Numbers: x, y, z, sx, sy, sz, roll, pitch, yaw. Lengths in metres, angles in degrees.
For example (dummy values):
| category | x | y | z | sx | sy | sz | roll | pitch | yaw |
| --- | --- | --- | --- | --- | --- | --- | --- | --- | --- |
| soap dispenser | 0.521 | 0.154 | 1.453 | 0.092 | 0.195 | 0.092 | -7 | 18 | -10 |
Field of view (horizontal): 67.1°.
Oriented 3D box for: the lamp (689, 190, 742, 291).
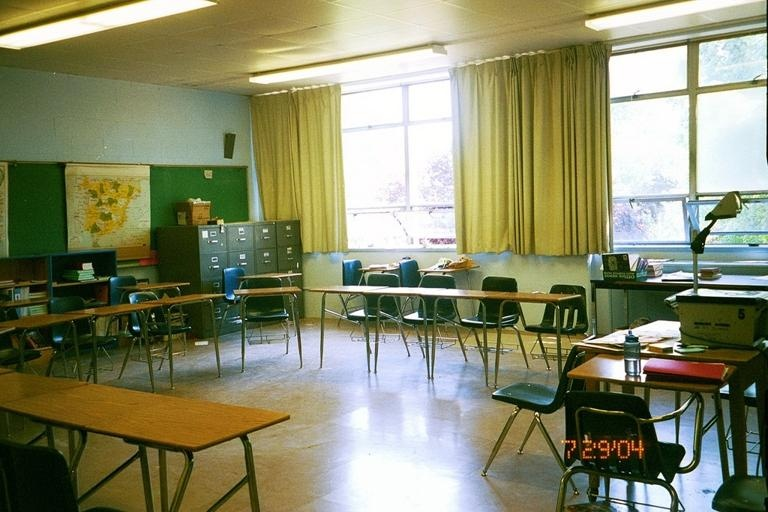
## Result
| category | x | y | z | sx | sy | sz | roll | pitch | yaw |
| --- | --- | --- | --- | --- | --- | --- | --- | --- | --- |
| lamp | 3.264 | -0.130 | 5.685 | 0.437 | 0.952 | 2.638 | -1 | 3 | 28 |

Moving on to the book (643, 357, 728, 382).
| category | x | y | z | sx | sy | sz | roll | pitch | yaw |
| --- | --- | --- | --- | --- | --- | --- | --- | --- | --- |
| book | 2.118 | 0.809 | 4.099 | 0.482 | 0.089 | 0.238 | 0 | 3 | 34 |

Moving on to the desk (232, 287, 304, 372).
| category | x | y | z | sx | sy | sz | roll | pitch | yaw |
| --- | --- | --- | --- | --- | --- | --- | --- | --- | --- |
| desk | -1.684 | 0.940 | 8.230 | 1.029 | 1.034 | 1.024 | -1 | 7 | -8 |

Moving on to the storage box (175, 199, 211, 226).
| category | x | y | z | sx | sy | sz | roll | pitch | yaw |
| --- | --- | --- | --- | --- | --- | --- | --- | --- | --- |
| storage box | -3.246 | -0.728 | 10.044 | 0.549 | 0.462 | 0.563 | 2 | 3 | 34 |

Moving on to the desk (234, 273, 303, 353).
| category | x | y | z | sx | sy | sz | roll | pitch | yaw |
| --- | --- | --- | --- | --- | --- | --- | --- | --- | --- |
| desk | -1.669 | 0.835 | 8.200 | 0.816 | 0.937 | 0.763 | -2 | 2 | 4 |
